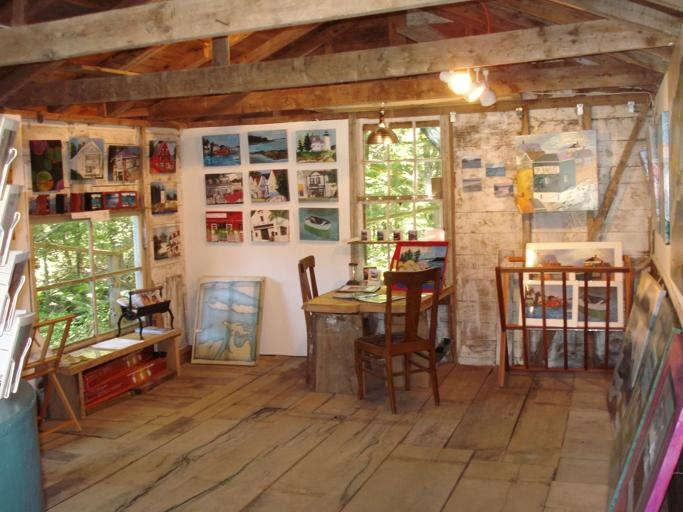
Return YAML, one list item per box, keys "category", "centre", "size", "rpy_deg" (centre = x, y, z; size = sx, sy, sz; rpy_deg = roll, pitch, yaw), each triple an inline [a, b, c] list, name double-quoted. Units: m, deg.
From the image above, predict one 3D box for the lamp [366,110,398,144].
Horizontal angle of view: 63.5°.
- category: "lamp"
  centre: [0.463, -1.504, 6.458]
  size: [0.559, 0.431, 0.464]
  rpy_deg: [0, 17, 0]

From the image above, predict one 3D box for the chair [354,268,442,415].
- category: "chair"
  centre: [0.601, 0.815, 6.016]
  size: [0.959, 1.491, 1.103]
  rpy_deg: [-3, 10, 5]

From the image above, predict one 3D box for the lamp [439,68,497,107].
- category: "lamp"
  centre: [1.261, -1.682, 5.487]
  size: [0.506, 0.392, 0.849]
  rpy_deg: [-1, 9, 11]

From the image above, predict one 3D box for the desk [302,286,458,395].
- category: "desk"
  centre: [0.254, 0.942, 6.527]
  size: [1.851, 0.839, 1.323]
  rpy_deg: [2, 4, 26]
